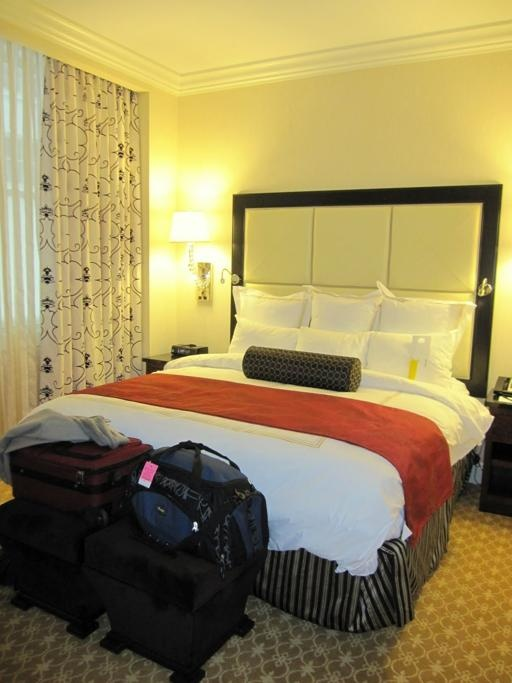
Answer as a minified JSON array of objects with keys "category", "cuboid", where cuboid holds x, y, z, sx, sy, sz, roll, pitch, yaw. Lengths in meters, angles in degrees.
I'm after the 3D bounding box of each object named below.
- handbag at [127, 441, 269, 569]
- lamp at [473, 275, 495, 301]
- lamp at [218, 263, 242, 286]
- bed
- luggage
[{"category":"handbag","cuboid":[-0.179,0.477,1.763,0.557,0.381,0.345,2,-1,39]},{"category":"lamp","cuboid":[1.427,-0.349,3.269,0.090,0.116,0.055,-10,-10,36]},{"category":"lamp","cuboid":[-0.214,-0.546,4.332,0.123,0.156,0.201,5,4,35]},{"category":"bed","cuboid":[0.302,0.431,2.962,2.271,1.679,2.214,5,8,34]},{"category":"luggage","cuboid":[-0.671,0.497,2.005,0.453,0.183,0.358,4,1,17]}]
